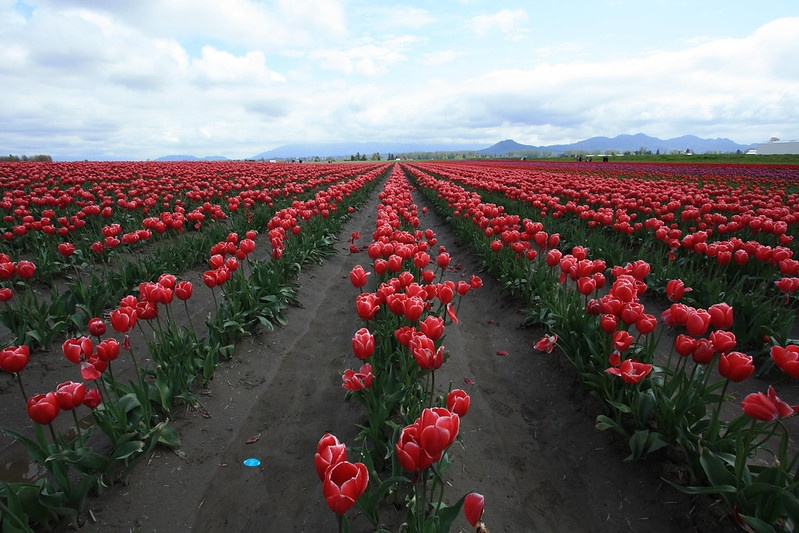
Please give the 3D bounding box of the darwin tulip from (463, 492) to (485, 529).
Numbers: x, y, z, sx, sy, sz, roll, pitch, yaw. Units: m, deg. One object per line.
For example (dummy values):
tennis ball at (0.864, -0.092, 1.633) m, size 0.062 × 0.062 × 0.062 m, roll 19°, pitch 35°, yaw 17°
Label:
darwin tulip at (0.609, 1.997, 3.551) m, size 0.148 × 0.475 × 0.229 m, roll -1°, pitch 19°, yaw 5°

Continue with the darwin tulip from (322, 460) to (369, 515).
darwin tulip at (-0.412, 1.647, 3.410) m, size 0.382 × 0.478 × 0.414 m, roll 3°, pitch 15°, yaw -7°
